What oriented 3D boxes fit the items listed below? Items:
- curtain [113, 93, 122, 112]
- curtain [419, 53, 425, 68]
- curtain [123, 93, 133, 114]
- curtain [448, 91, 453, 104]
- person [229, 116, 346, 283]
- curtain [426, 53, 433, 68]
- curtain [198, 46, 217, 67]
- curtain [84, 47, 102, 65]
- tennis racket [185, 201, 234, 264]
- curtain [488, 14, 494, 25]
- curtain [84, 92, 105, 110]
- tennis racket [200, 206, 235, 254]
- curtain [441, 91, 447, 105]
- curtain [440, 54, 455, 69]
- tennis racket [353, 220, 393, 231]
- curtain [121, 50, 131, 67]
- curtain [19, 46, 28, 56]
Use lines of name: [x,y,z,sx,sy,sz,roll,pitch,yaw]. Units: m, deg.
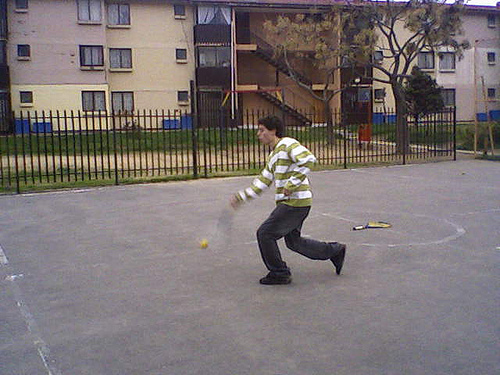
curtain: [-8.210,-5.411,38.079,0.524,0.993,0.227,-3,9,-16]
curtain: [12.570,-9.281,44.565,0.531,1.013,0.230,-7,11,-35]
curtain: [-7.595,-5.449,38.230,0.581,0.967,0.233,-2,9,-7]
curtain: [14.915,-6.747,45.433,0.442,0.896,0.200,-6,10,-31]
person: [0.540,0.164,8.749,1.037,2.374,1.336,7,12,42]
curtain: [13.110,-9.303,44.677,0.497,1.016,0.245,0,9,4]
curtain: [-2.638,-8.354,38.989,1.380,1.492,1.085,0,5,-5]
curtain: [-9.481,-8.022,36.916,0.953,1.067,0.052,-2,6,-9]
tennis racket: [-0.758,0.856,11.509,0.448,0.613,1.851,9,-12,6]
curtain: [17.783,-12.416,45.123,0.487,0.739,0.104,-2,9,-12]
curtain: [-9.459,-5.330,37.263,1.180,1.014,0.608,-4,9,-18]
tennis racket: [-0.620,0.814,11.725,0.374,0.406,1.197,-15,20,21]
curtain: [14.441,-6.747,45.316,0.309,0.860,0.263,2,9,17]
curtain: [14.575,-9.334,45.046,1.274,1.074,0.425,-6,10,-29]
tennis racket: [2.411,0.705,11.769,0.567,0.066,1.012,6,11,32]
curtain: [-7.658,-8.041,37.953,0.611,1.012,0.135,-1,9,-4]
curtain: [-13.194,-8.040,35.697,0.490,0.587,0.054,-2,7,-20]
